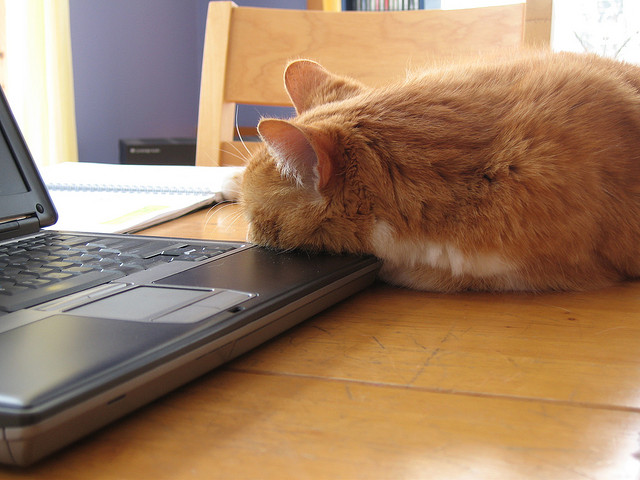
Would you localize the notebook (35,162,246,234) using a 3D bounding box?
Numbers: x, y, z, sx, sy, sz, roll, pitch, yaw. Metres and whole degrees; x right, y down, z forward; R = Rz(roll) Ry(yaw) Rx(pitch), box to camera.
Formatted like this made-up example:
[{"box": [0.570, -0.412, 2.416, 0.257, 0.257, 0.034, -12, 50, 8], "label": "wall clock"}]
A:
[{"box": [-0.366, -0.086, 1.041, 0.289, 0.034, 0.272, 6, 16, 28], "label": "notebook"}]
